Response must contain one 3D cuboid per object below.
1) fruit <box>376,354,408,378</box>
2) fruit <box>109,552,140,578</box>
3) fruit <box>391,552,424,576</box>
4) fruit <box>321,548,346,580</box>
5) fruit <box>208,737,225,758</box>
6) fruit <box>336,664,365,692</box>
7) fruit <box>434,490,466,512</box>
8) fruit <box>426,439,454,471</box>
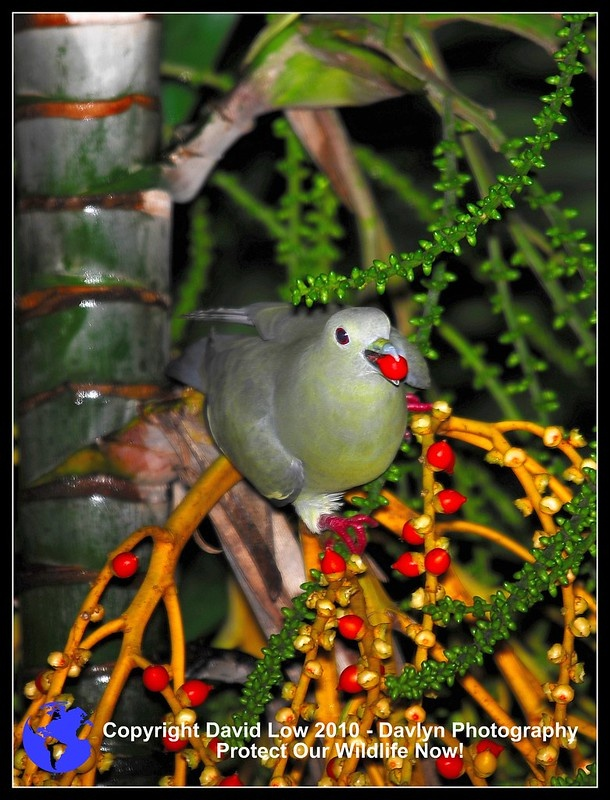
[{"bbox_3d":[0.134,-0.052,1.365,0.027,0.026,0.052,25,-4,-43],"label":"fruit"},{"bbox_3d":[-0.280,0.257,1.372,0.041,0.039,0.039,-15,21,-18],"label":"fruit"},{"bbox_3d":[0.161,0.261,1.395,0.058,0.034,0.038,4,-22,1],"label":"fruit"},{"bbox_3d":[0.034,0.246,1.325,0.036,0.037,0.031,-17,1,-9],"label":"fruit"},{"bbox_3d":[-0.139,0.544,1.388,0.024,0.024,0.027,-6,-3,-21],"label":"fruit"},{"bbox_3d":[0.066,0.418,1.316,0.033,0.039,0.038,-13,21,-11],"label":"fruit"},{"bbox_3d":[0.225,0.157,1.381,0.051,0.029,0.032,2,-13,7],"label":"fruit"},{"bbox_3d":[0.211,0.096,1.397,0.041,0.064,0.054,-5,21,9],"label":"fruit"}]
